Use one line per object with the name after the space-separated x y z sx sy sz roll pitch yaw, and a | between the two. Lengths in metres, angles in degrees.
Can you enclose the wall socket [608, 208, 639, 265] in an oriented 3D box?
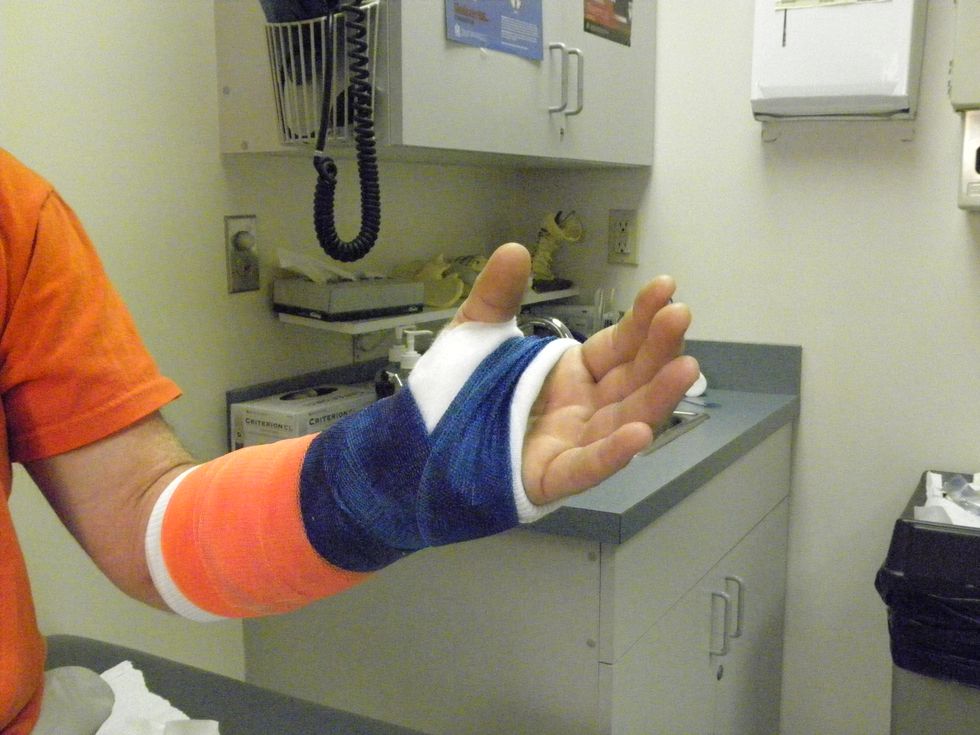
0.345 -0.337 2.263 0.089 0.144 0.026 11 20 29 | wall socket
